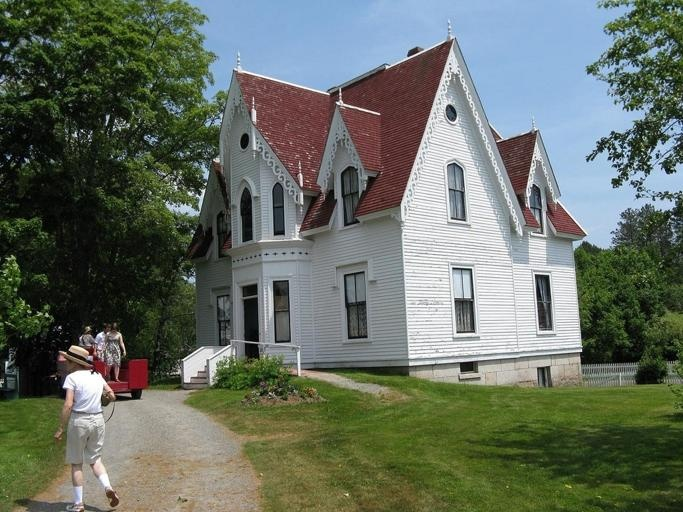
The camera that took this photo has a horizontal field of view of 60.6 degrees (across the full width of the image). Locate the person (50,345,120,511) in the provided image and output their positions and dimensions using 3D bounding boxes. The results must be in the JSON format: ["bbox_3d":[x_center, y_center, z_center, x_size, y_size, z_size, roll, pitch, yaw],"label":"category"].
[{"bbox_3d":[-5.104,3.462,11.638,1.088,3.090,1.010,-3,1,-17],"label":"person"}]

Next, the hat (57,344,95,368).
[{"bbox_3d":[-5.358,2.043,11.868,0.634,0.260,0.583,30,-9,-11],"label":"hat"}]
